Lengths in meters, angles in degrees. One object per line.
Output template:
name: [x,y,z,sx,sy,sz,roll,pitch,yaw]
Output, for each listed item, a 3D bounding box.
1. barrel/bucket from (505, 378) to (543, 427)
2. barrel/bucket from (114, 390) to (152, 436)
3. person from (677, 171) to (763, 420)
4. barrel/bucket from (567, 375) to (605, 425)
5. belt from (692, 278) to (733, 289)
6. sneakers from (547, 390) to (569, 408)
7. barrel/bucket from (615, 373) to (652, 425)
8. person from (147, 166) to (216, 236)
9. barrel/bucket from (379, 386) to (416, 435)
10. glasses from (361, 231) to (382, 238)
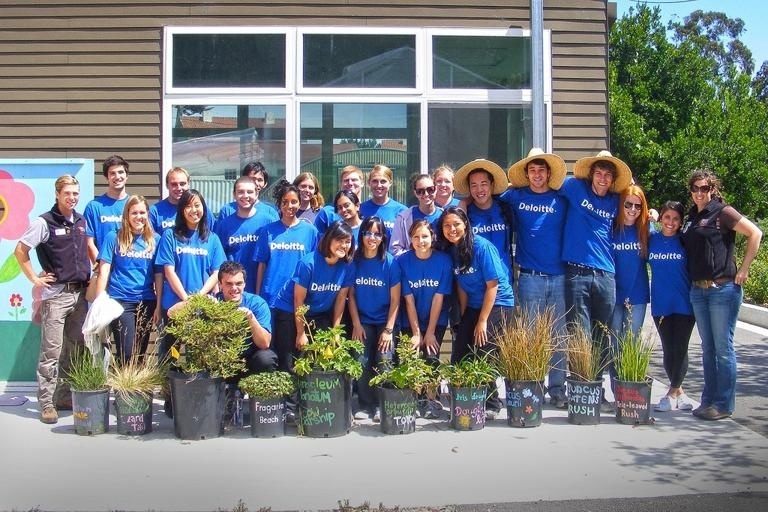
barrel/bucket: [1.447,1.554,9.403,0.422,0.438,0.418,0,-3,0]
barrel/bucket: [-2.531,1.622,9.132,0.381,0.347,0.423,5,-9,-42]
person: [3.622,0.400,9.584,0.732,2.682,0.339,-1,-1,22]
barrel/bucket: [2.107,1.534,9.358,0.409,0.433,0.399,1,-4,0]
belt: [3.546,0.290,9.559,0.404,0.104,0.110,-1,0,10]
sneakers: [1.933,1.593,9.821,0.106,0.211,0.207,5,-13,-43]
barrel/bucket: [2.608,1.531,9.415,0.406,0.437,0.405,2,-1,0]
person: [-2.315,-0.611,10.013,0.767,1.142,0.354,-3,3,-25]
barrel/bucket: [0.151,1.583,9.126,0.430,0.350,0.400,2,-4,0]
glasses: [-0.120,-0.229,9.370,0.206,0.073,0.057,-1,0,-4]
